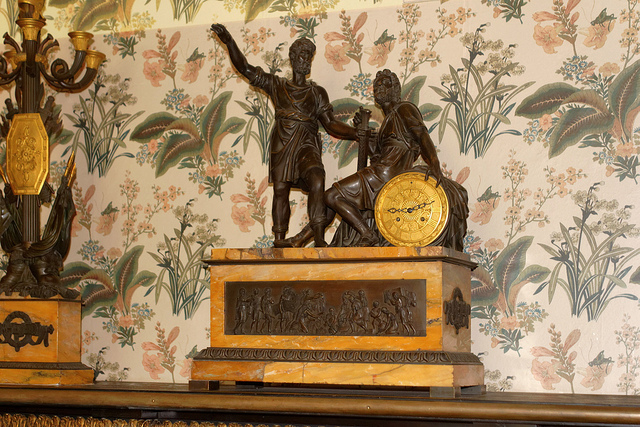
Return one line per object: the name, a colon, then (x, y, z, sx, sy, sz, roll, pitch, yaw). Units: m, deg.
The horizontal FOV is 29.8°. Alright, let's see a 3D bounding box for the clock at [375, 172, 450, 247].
clock: (0.386, -0.013, 4.926, 0.294, 0.301, 0.027, -2, -10, 14)
